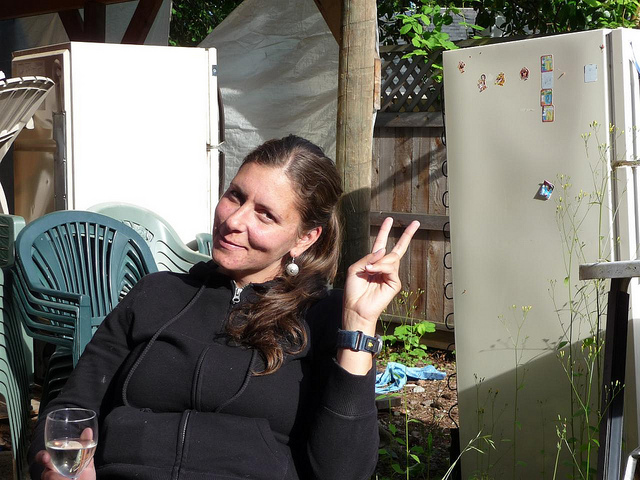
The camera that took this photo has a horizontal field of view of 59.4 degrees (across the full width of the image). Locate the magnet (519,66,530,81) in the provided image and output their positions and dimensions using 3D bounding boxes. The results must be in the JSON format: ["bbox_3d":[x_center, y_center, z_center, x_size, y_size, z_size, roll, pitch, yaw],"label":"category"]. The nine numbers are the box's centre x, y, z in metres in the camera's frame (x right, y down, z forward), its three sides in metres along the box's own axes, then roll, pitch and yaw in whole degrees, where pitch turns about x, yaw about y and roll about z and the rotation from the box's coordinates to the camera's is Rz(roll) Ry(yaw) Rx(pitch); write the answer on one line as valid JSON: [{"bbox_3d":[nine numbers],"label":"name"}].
[{"bbox_3d":[1.047,-0.856,2.867,0.051,0.078,0.018,2,3,25],"label":"magnet"}]

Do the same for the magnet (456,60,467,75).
[{"bbox_3d":[0.773,-0.947,3.054,0.049,0.060,0.025,7,7,27],"label":"magnet"}]

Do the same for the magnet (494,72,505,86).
[{"bbox_3d":[0.944,-0.844,2.934,0.034,0.060,0.016,21,7,33],"label":"magnet"}]

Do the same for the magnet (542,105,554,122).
[{"bbox_3d":[1.139,-0.636,2.803,0.059,0.067,0.014,5,-1,37],"label":"magnet"}]

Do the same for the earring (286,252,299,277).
[{"bbox_3d":[-0.103,0.115,2.123,0.045,0.051,0.028,4,3,0],"label":"earring"}]

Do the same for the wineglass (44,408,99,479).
[{"bbox_3d":[-0.784,0.647,1.760,0.156,0.206,0.124,3,3,-16],"label":"wineglass"}]

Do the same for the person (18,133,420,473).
[{"bbox_3d":[-0.287,0.208,1.953,1.196,1.202,0.603,4,3,9],"label":"person"}]

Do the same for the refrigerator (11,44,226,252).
[{"bbox_3d":[-1.923,-0.862,5.347,1.723,2.837,1.606,-2,4,-29],"label":"refrigerator"}]

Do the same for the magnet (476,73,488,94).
[{"bbox_3d":[0.868,-0.841,2.993,0.018,0.079,0.076,3,6,-33],"label":"magnet"}]

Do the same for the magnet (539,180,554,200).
[{"bbox_3d":[1.141,-0.253,2.812,0.064,0.083,0.045,28,-2,-1],"label":"magnet"}]
